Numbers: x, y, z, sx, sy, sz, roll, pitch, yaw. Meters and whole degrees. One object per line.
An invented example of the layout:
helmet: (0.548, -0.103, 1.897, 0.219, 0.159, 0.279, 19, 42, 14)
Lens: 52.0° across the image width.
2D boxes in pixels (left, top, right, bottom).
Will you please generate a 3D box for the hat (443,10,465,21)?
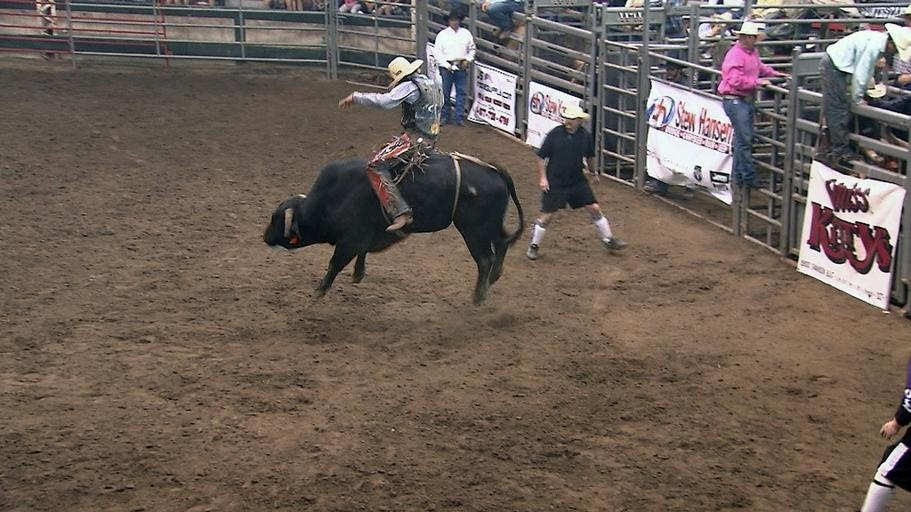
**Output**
hat: (-0.004, -4.882, 18.897, 0.440, 0.133, 0.448, -1, 5, -17)

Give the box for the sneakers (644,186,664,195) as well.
sneakers: (3.526, -1.176, 16.565, 0.347, 0.139, 0.094, 16, 24, 35)

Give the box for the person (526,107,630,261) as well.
person: (1.864, -1.100, 14.130, 1.310, 2.346, 0.815, 6, 24, -2)

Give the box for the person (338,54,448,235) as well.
person: (-0.773, -1.447, 12.353, 0.951, 2.239, 1.100, 7, 23, 0)
